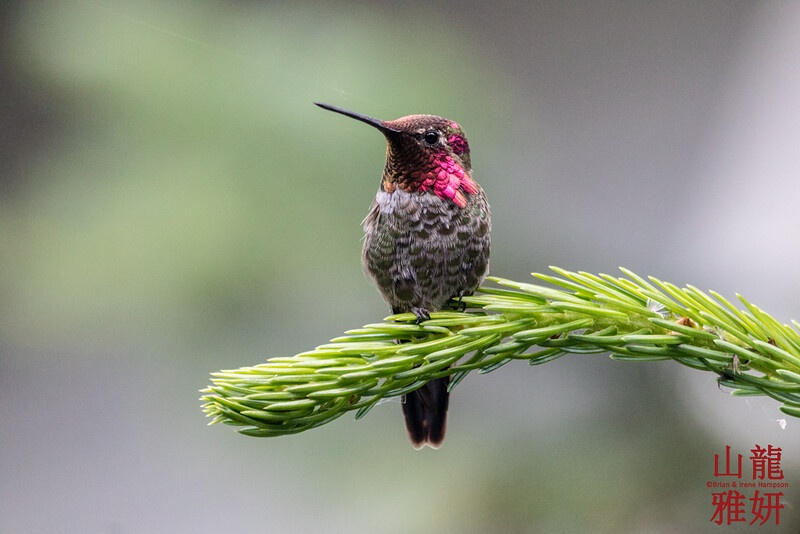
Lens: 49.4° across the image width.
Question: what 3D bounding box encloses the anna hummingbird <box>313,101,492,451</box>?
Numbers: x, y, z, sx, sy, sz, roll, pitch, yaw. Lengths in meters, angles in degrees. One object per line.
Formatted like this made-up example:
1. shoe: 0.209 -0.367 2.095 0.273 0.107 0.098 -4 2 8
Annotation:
1. anna hummingbird: 0.078 -0.191 2.949 0.442 0.669 0.556 1 -36 7
